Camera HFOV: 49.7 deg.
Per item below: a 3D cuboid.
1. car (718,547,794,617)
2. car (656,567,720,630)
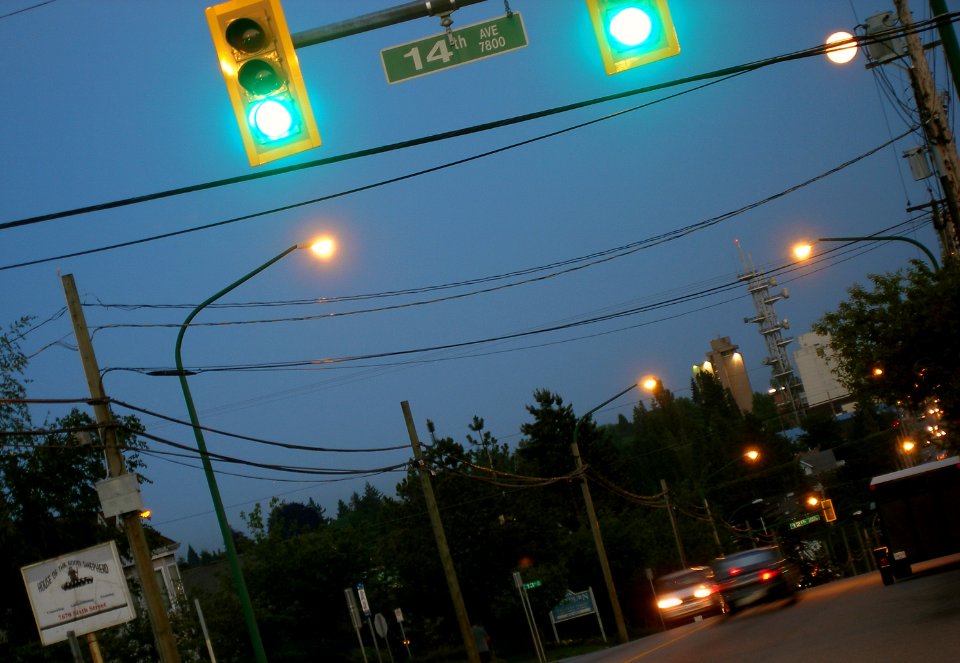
[{"bbox_3d":[8.691,7.801,32.943,2.857,1.842,1.702,-4,-21,-34],"label":"car"},{"bbox_3d":[6.885,8.913,35.070,2.011,1.583,1.164,-20,-17,11],"label":"car"}]
